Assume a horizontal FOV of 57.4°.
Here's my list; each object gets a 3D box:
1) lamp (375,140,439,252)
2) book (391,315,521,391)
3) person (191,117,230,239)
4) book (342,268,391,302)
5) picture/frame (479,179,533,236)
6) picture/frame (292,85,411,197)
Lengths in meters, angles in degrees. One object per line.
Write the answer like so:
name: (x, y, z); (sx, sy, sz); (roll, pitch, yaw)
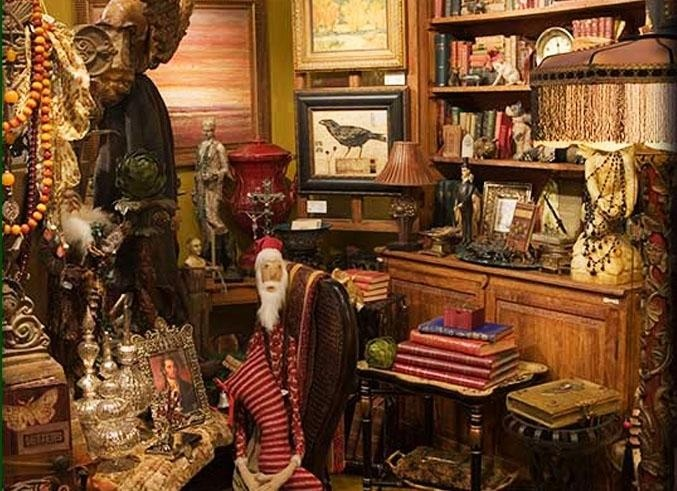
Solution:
lamp: (0.474, -0.359, 4.501); (0.423, 0.765, 0.425); (13, 19, 40)
book: (0.652, 0.615, 3.504); (0.452, 0.166, 0.420); (4, 9, 35)
person: (-1.046, -0.528, 5.047); (0.306, 0.998, 0.210); (-4, 10, -11)
book: (0.216, 0.266, 4.212); (0.175, 0.144, 0.252); (-6, 12, -26)
picture/frame: (1.167, -0.250, 4.289); (0.326, 0.439, 0.031); (9, 2, 44)
picture/frame: (0.129, -0.798, 4.653); (0.774, 0.755, 0.088); (3, 11, 22)
